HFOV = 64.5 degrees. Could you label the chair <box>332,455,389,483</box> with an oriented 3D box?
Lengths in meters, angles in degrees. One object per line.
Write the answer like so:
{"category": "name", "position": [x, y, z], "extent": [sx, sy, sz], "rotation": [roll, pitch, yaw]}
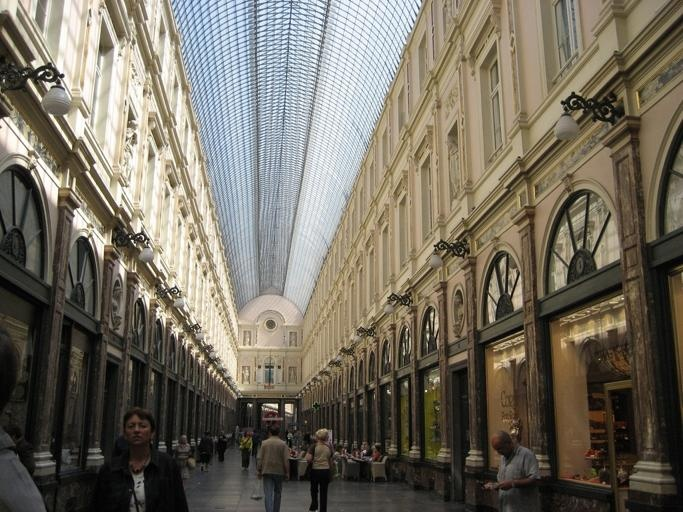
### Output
{"category": "chair", "position": [0.703, 8.925, 22.885], "extent": [1.299, 1.285, 3.529], "rotation": [15, -29, -30]}
